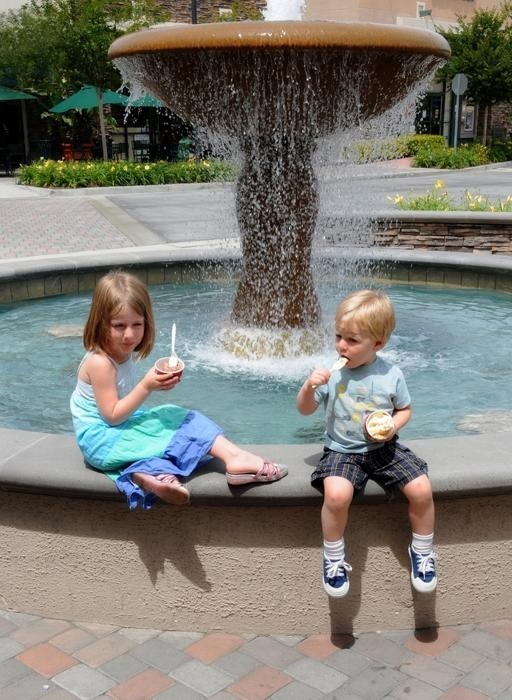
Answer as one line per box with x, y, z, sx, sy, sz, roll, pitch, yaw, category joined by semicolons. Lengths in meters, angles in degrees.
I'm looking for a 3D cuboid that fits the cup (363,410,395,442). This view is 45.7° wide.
0.359;0.233;1.786;0.083;0.093;0.072;3;12;18;cup

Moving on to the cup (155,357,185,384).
-0.252;0.061;1.796;0.082;0.043;0.073;0;19;-7;cup

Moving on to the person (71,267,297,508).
-0.271;0.126;1.847;0.394;0.701;0.613;-12;16;-43;person

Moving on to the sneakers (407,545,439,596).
0.477;0.645;1.793;0.068;0.065;0.172;3;22;2;sneakers

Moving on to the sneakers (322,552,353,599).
0.232;0.647;1.743;0.073;0.057;0.155;-2;2;-2;sneakers

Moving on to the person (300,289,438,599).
0.348;0.303;1.837;0.429;0.937;0.426;-1;12;-1;person

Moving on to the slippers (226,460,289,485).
0.011;0.343;1.764;0.142;0.044;0.071;-4;11;-17;slippers
